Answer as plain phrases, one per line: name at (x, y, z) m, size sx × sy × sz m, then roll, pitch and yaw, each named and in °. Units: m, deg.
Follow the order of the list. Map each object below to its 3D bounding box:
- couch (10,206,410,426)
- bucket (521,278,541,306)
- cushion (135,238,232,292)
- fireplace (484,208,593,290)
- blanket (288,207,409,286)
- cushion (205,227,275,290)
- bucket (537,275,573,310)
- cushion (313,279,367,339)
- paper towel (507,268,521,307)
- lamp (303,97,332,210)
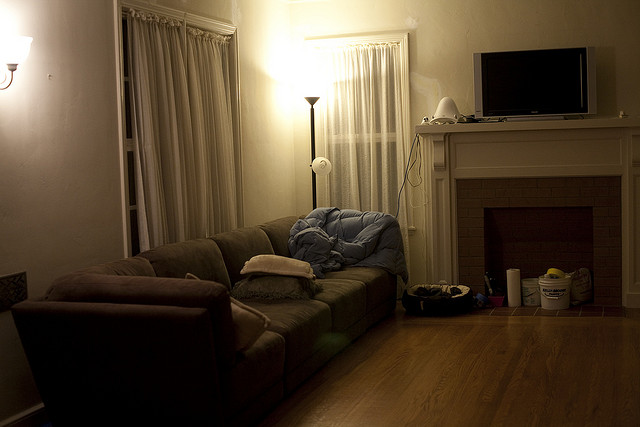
couch at (-0.447, 0.695, 3.964) m, size 1.495 × 1.101 × 3.180 m, roll 0°, pitch 8°, yaw 26°
bucket at (2.208, 0.815, 5.075) m, size 0.242 × 0.268 × 0.242 m, roll 0°, pitch 1°, yaw 0°
cushion at (-1.011, 0.377, 3.501) m, size 0.136 × 0.257 × 0.388 m, roll -19°, pitch -4°, yaw 29°
fireplace at (2.360, 0.340, 5.222) m, size 1.066 × 1.039 × 0.346 m, roll -1°, pitch 13°, yaw 37°
blanket at (0.219, 0.307, 4.913) m, size 1.061 × 0.452 × 1.419 m, roll 1°, pitch 18°, yaw 27°
cushion at (-0.633, 0.386, 4.496) m, size 0.260 × 0.486 × 0.739 m, roll -15°, pitch 5°, yaw 18°
bucket at (2.443, 0.811, 5.025) m, size 0.345 × 0.327 × 0.348 m, roll -3°, pitch 0°, yaw 0°
cushion at (0.158, 0.774, 4.155) m, size 0.349 × 0.240 × 0.510 m, roll 1°, pitch 9°, yaw 30°
paper towel at (2.044, 0.782, 5.067) m, size 0.136 × 0.379 × 0.103 m, roll -2°, pitch 7°, yaw 6°
lamp at (-0.018, -0.705, 5.655) m, size 0.241 × 1.296 × 0.471 m, roll -3°, pitch 7°, yaw -1°
